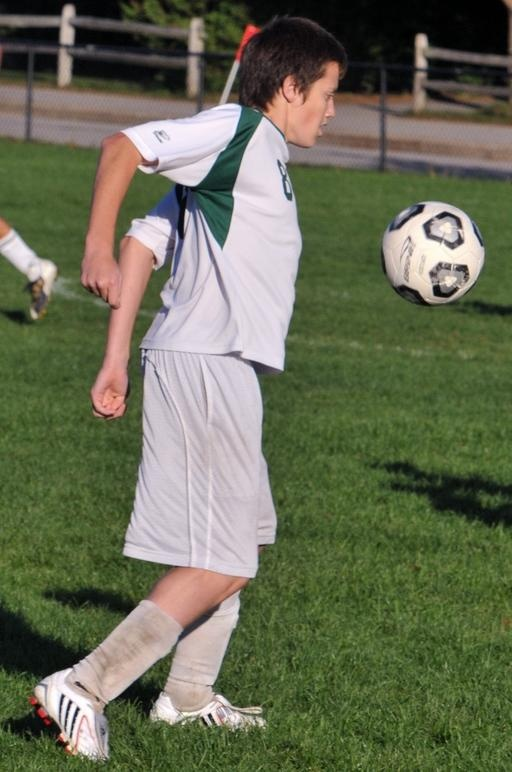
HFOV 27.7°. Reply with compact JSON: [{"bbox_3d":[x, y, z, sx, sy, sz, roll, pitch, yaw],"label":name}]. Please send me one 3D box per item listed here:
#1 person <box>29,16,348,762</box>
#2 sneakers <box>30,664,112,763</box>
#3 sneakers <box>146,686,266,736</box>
[{"bbox_3d":[-0.199,0.045,2.750,0.545,2.005,0.956,8,17,27],"label":"person"},{"bbox_3d":[-0.483,0.841,2.607,0.190,0.237,0.076,5,16,15],"label":"sneakers"},{"bbox_3d":[-0.113,0.898,2.937,0.366,0.139,0.125,2,6,-21],"label":"sneakers"}]
